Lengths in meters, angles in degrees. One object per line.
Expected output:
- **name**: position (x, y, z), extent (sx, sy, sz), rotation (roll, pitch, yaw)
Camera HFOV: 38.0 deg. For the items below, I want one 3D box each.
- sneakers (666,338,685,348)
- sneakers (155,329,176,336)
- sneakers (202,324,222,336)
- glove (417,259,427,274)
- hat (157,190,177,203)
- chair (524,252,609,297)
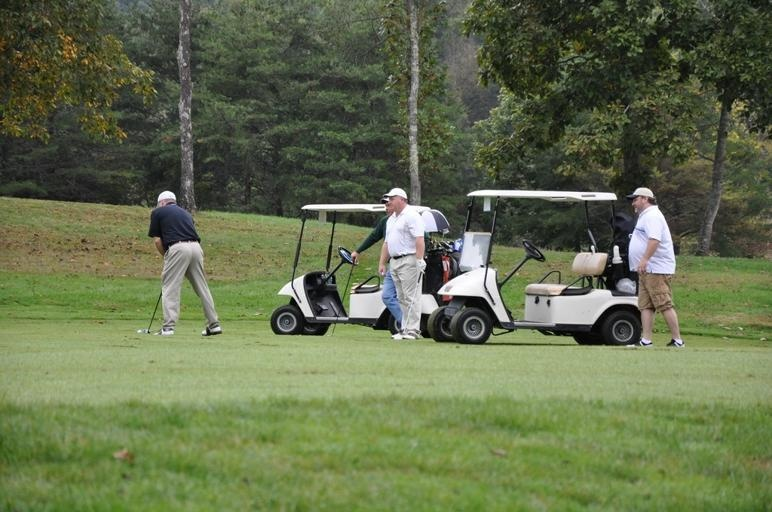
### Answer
- **sneakers**: position (6.786, 2.080, 26.624), extent (0.561, 0.252, 0.209), rotation (1, 3, 43)
- **sneakers**: position (-5.296, 1.834, 26.741), extent (0.389, 0.183, 0.161), rotation (2, -6, 5)
- **sneakers**: position (-4.277, 1.806, 26.983), extent (0.551, 0.263, 0.215), rotation (-6, 6, 15)
- **glove**: position (0.861, 0.272, 27.288), extent (0.249, 0.346, 0.345), rotation (0, 4, 5)
- **hat**: position (-5.447, -1.426, 27.459), extent (0.558, 0.312, 0.427), rotation (-5, -7, 38)
- **chair**: position (4.293, 0.537, 28.001), extent (2.264, 1.333, 1.346), rotation (-2, 3, -22)
